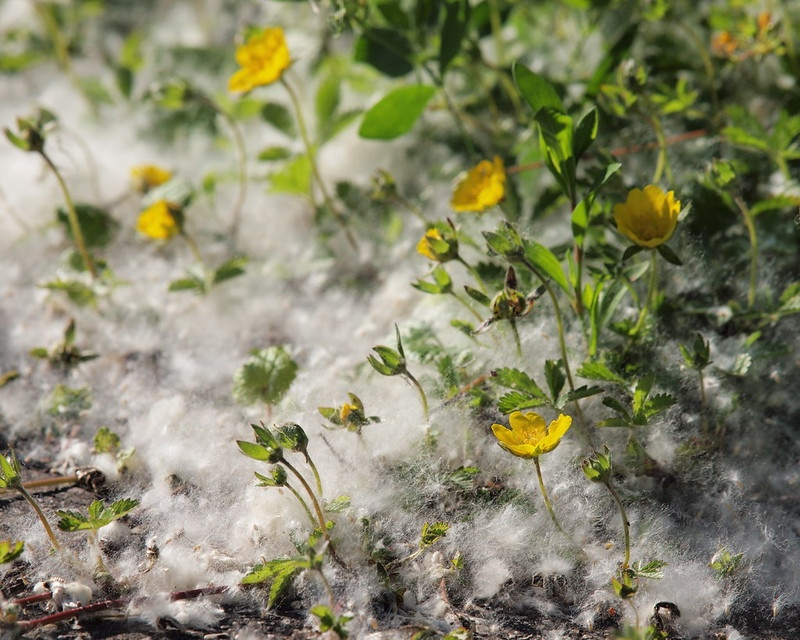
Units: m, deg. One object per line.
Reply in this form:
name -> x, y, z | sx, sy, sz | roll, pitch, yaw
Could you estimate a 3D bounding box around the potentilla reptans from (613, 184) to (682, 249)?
potentilla reptans -> 0.555, -0.225, 2.171 | 0.149, 0.082, 0.157 | -11, 53, -2
